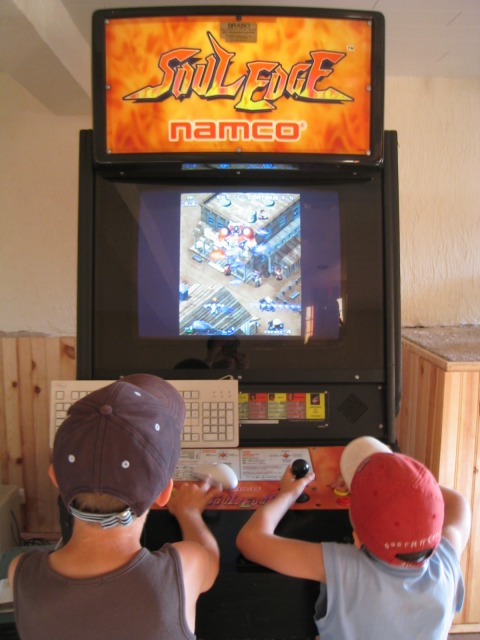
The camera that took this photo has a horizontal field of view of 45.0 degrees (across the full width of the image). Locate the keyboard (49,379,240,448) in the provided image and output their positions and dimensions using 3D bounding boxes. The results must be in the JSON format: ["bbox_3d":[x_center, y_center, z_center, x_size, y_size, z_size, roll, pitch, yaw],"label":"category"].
[{"bbox_3d":[-0.172,0.167,1.047,0.412,0.170,0.032,0,-3,-3],"label":"keyboard"}]

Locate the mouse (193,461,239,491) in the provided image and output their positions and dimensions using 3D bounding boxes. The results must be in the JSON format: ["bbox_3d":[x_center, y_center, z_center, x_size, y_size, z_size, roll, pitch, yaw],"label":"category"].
[{"bbox_3d":[-0.046,0.316,1.170,0.074,0.028,0.044,16,34,21],"label":"mouse"}]

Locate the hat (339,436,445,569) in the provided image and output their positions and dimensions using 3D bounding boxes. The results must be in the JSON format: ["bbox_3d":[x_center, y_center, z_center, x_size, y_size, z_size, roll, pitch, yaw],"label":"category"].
[{"bbox_3d":[0.260,0.280,0.981,0.151,0.118,0.223,-1,41,-16],"label":"hat"}]

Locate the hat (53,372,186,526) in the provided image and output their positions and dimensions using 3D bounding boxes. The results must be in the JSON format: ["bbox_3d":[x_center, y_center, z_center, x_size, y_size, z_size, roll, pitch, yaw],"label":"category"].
[{"bbox_3d":[-0.202,0.157,0.944,0.198,0.118,0.305,4,36,1],"label":"hat"}]

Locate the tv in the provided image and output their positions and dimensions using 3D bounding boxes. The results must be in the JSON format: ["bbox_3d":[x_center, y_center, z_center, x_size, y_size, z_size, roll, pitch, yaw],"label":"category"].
[{"bbox_3d":[0.000,-0.083,1.346,0.450,0.406,0.168,0,0,-1],"label":"tv"}]
